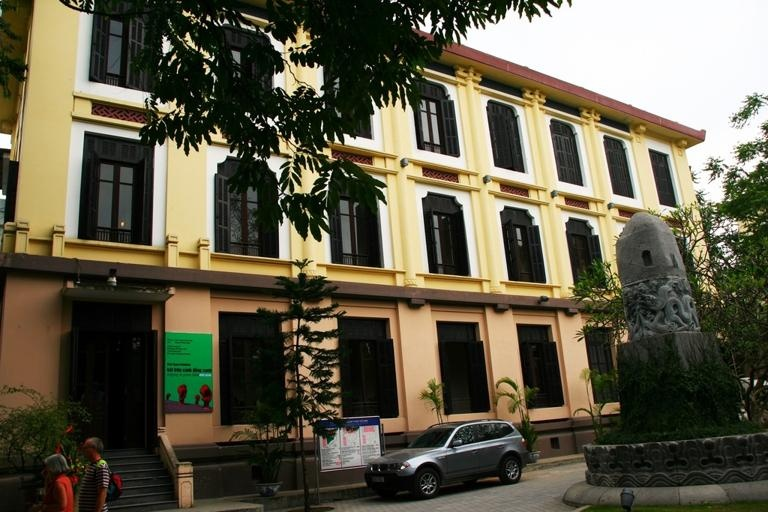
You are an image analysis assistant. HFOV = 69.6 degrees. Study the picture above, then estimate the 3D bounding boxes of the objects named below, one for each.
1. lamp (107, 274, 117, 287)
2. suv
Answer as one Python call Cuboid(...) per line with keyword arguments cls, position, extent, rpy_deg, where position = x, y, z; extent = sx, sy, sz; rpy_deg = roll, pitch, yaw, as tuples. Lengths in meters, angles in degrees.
Cuboid(cls="lamp", position=(-7.974, 0.719, 16.249), extent=(0.348, 0.329, 0.355), rpy_deg=(-3, -7, 6))
Cuboid(cls="suv", position=(1.926, 6.077, 16.897), extent=(4.919, 1.783, 2.179), rpy_deg=(9, -24, -31))
